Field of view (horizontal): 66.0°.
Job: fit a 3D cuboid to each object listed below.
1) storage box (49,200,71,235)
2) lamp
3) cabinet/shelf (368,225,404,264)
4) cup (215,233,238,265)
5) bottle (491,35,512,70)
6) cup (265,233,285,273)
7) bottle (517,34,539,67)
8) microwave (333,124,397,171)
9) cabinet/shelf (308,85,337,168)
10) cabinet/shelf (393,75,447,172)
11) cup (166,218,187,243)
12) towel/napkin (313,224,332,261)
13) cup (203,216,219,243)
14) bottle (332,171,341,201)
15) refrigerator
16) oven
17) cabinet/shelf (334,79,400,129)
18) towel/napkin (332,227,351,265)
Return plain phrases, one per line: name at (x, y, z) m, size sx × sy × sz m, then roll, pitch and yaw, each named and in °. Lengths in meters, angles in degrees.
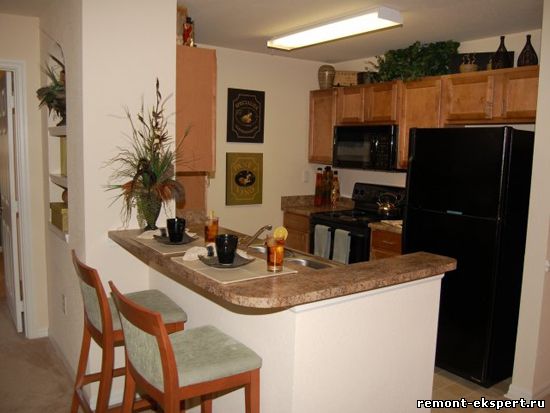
storage box at (-1.769, 0.095, 3.488) m, size 0.154 × 0.135 × 0.268 m, roll -6°, pitch 14°, yaw -31°
lamp at (0.486, -1.572, 3.730) m, size 0.357 × 0.210 × 1.279 m, roll -8°, pitch 16°, yaw -42°
cabinet/shelf at (1.138, 0.391, 4.337) m, size 0.122 × 0.391 × 0.397 m, roll -5°, pitch 14°, yaw -31°
cup at (-0.267, 0.223, 2.313) m, size 0.112 × 0.165 × 0.139 m, roll 0°, pitch 12°, yaw -8°
bottle at (2.059, -1.373, 3.815) m, size 0.163 × 0.287 × 0.199 m, roll 10°, pitch 14°, yaw 35°
cup at (0.001, 0.244, 2.285) m, size 0.090 × 0.190 × 0.171 m, roll 2°, pitch 12°, yaw 0°
bottle at (2.202, -1.332, 3.630) m, size 0.218 × 0.284 × 0.159 m, roll -8°, pitch 16°, yaw -41°
microwave at (1.057, -0.688, 4.992) m, size 0.758 × 0.525 × 0.437 m, roll 5°, pitch 8°, yaw 28°
cabinet/shelf at (0.758, -1.017, 5.514) m, size 0.358 × 0.868 × 0.472 m, roll 11°, pitch 16°, yaw 43°
cabinet/shelf at (1.518, -0.817, 4.462) m, size 0.452 × 0.871 × 0.480 m, roll 6°, pitch -16°, yaw 3°
cup at (-0.636, 0.156, 2.757) m, size 0.137 × 0.159 × 0.136 m, roll 2°, pitch 5°, yaw 0°
towel/napkin at (0.531, 0.391, 4.647) m, size 0.061 × 0.550 × 0.292 m, roll -5°, pitch 12°, yaw -32°
cup at (-0.429, 0.162, 2.811) m, size 0.147 × 0.179 × 0.145 m, roll 0°, pitch -3°, yaw 0°
bottle at (0.789, -0.244, 5.540) m, size 0.115 × 0.426 × 0.118 m, roll 2°, pitch 12°, yaw 0°
refrigerator at (1.581, 0.384, 3.556) m, size 0.968 × 2.082 × 0.468 m, roll 10°, pitch 14°, yaw 33°
oven at (0.732, 0.362, 4.844) m, size 0.625 × 0.596 × 0.390 m, roll 15°, pitch 21°, yaw 35°
cabinet/shelf at (1.080, -1.176, 4.893) m, size 0.713 × 0.408 × 0.249 m, roll 4°, pitch 12°, yaw 29°
towel/napkin at (0.714, 0.424, 4.464) m, size 0.055 × 0.534 × 0.280 m, roll -8°, pitch 15°, yaw -36°
